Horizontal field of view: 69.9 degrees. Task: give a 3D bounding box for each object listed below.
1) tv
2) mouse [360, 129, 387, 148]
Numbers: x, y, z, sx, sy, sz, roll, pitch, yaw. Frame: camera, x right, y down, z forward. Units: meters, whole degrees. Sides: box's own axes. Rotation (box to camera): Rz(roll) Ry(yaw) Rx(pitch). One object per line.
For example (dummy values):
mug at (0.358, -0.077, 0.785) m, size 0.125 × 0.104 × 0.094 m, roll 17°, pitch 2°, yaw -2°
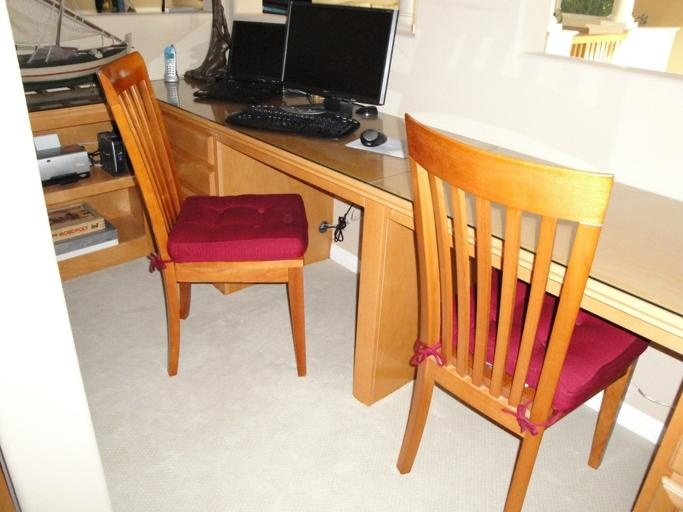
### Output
tv at (0.000, -0.810, 2.010) m, size 0.445 × 0.317 × 0.132 m, roll 31°, pitch 42°, yaw 27°
mouse at (0.114, -0.427, 1.767) m, size 0.060 × 0.027 × 0.083 m, roll 16°, pitch 39°, yaw 12°
